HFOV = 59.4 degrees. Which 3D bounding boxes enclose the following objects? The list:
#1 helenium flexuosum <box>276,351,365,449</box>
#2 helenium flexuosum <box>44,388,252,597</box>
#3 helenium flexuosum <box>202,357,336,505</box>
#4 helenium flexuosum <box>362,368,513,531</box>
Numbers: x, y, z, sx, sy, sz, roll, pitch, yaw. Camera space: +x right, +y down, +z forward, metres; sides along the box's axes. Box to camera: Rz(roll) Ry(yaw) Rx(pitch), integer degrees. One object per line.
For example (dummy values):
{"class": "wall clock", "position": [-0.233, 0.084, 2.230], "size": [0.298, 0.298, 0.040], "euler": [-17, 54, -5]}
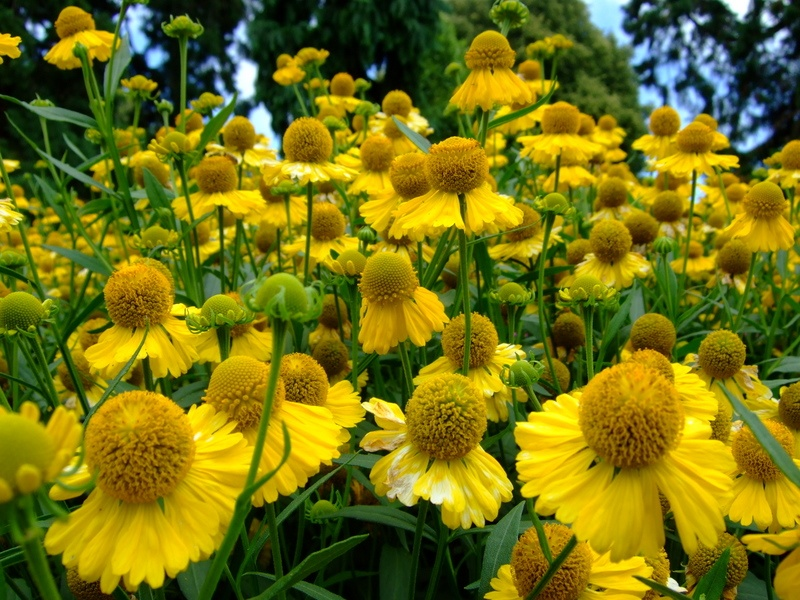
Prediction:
{"class": "helenium flexuosum", "position": [-0.244, 0.272, 2.100], "size": [0.227, 0.117, 0.238], "euler": [21, 23, 37]}
{"class": "helenium flexuosum", "position": [-0.589, 0.466, 1.668], "size": [0.439, 0.361, 0.360], "euler": [9, 23, -30]}
{"class": "helenium flexuosum", "position": [-0.339, 0.314, 1.864], "size": [0.330, 0.173, 0.352], "euler": [22, 42, 32]}
{"class": "helenium flexuosum", "position": [0.098, 0.358, 2.038], "size": [0.392, 0.318, 0.499], "euler": [2, 19, -17]}
